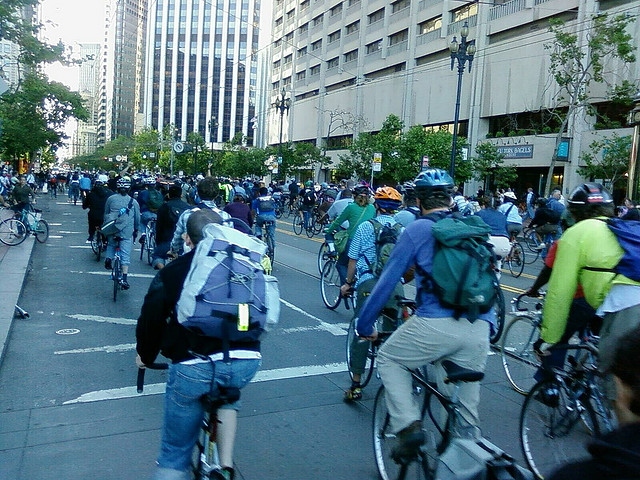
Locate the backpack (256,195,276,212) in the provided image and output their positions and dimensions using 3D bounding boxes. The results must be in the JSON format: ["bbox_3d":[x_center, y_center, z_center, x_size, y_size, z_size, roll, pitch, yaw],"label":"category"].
[{"bbox_3d":[-1.305,-0.896,14.458,0.389,0.392,0.452,1,7,-9],"label":"backpack"}]

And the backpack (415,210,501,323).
[{"bbox_3d":[0.948,0.150,4.175,0.468,0.669,0.724,-3,9,-14],"label":"backpack"}]

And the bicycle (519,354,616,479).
[{"bbox_3d":[1.915,1.421,4.710,0.606,0.965,0.732,5,8,17],"label":"bicycle"}]

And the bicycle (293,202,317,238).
[{"bbox_3d":[-0.589,-0.590,22.952,0.800,0.944,1.590,-1,-1,-7],"label":"bicycle"}]

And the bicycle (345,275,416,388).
[{"bbox_3d":[0.668,0.822,5.908,0.668,0.816,1.328,12,-6,-7],"label":"bicycle"}]

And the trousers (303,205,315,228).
[{"bbox_3d":[-0.433,-0.916,22.244,0.551,0.751,0.257,13,-24,-10],"label":"trousers"}]

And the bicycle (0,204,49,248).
[{"bbox_3d":[-8.453,-0.395,17.124,0.917,1.051,1.859,2,1,38],"label":"bicycle"}]

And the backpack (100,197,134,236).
[{"bbox_3d":[-3.690,-0.433,10.923,0.597,0.654,0.460,-1,8,-28],"label":"backpack"}]

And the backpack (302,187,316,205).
[{"bbox_3d":[-0.382,-1.671,22.688,0.383,0.565,0.863,2,7,-2],"label":"backpack"}]

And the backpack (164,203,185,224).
[{"bbox_3d":[-2.303,-0.424,9.431,0.245,0.114,0.322,38,-32,-23],"label":"backpack"}]

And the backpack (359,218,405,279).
[{"bbox_3d":[0.687,0.031,6.680,0.471,0.691,0.716,-4,0,-13],"label":"backpack"}]

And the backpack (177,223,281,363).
[{"bbox_3d":[-0.519,0.271,3.755,0.577,0.765,0.413,12,7,17],"label":"backpack"}]

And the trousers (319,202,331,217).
[{"bbox_3d":[0.166,-0.991,18.683,0.355,0.345,0.398,1,-2,-6],"label":"trousers"}]

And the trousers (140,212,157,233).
[{"bbox_3d":[-4.039,-0.396,13.820,0.552,0.534,0.882,0,7,-15],"label":"trousers"}]

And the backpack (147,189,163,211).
[{"bbox_3d":[-3.664,-0.886,13.326,0.299,0.489,0.659,0,8,-16],"label":"backpack"}]

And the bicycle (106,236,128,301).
[{"bbox_3d":[-3.574,0.479,10.540,0.317,1.025,1.012,0,8,-18],"label":"bicycle"}]
